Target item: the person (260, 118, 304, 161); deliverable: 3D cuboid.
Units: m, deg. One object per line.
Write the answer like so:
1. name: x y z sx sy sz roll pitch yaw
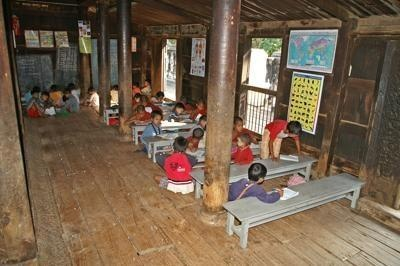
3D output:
1. person: 2.333 0.203 7.653 0.524 1.295 0.806 -12 59 -5

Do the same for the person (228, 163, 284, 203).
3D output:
1. person: 1.112 1.088 5.646 1.052 0.883 0.342 9 22 23

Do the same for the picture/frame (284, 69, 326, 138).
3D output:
1. picture/frame: 3.004 -0.842 7.648 0.077 2.325 1.509 -9 19 -35

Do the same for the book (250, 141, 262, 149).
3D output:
1. book: 1.690 0.343 8.336 0.223 0.163 0.211 -10 16 -40
